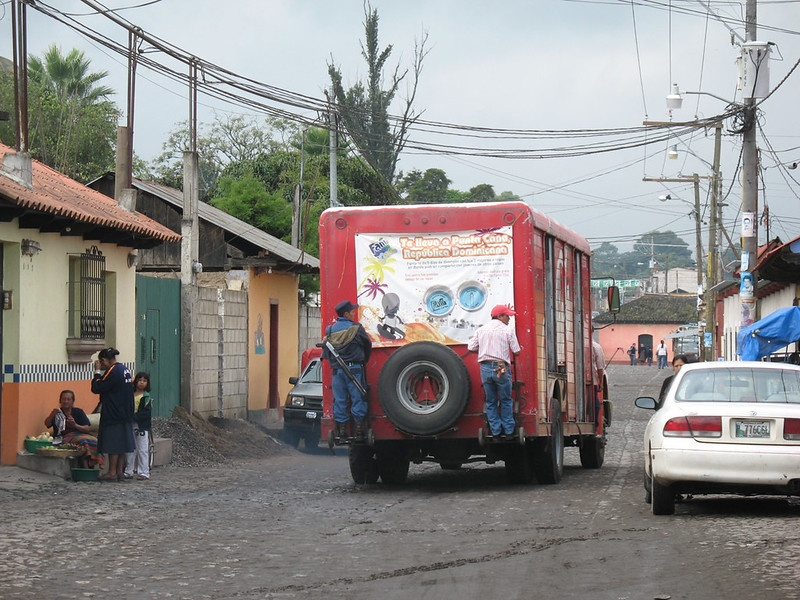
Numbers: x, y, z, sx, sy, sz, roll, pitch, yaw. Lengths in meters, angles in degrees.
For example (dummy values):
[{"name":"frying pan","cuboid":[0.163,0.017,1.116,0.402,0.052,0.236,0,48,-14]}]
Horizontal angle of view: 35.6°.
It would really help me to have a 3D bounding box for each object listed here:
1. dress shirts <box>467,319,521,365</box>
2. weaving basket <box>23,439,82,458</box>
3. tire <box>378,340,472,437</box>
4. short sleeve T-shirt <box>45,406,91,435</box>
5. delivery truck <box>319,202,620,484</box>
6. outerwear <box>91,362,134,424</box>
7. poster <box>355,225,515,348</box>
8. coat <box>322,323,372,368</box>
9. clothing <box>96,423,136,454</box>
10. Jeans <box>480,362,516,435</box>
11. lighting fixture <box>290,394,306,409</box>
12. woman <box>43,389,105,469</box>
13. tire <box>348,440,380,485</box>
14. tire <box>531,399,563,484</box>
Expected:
[{"name":"dress shirts","cuboid":[1.301,0.517,16.898,0.885,0.706,0.525,2,7,11]},{"name":"weaving basket","cuboid":[-5.328,2.270,19.049,0.898,0.292,0.312,-2,-6,15]},{"name":"tire","cuboid":[0.388,1.214,16.965,1.394,1.285,0.471,-2,-2,9]},{"name":"short sleeve T-shirt","cuboid":[-5.163,1.888,19.414,0.683,0.503,0.419,1,-14,-13]},{"name":"delivery truck","cuboid":[1.125,0.442,19.255,3.166,2.759,5.100,-1,-1,19]},{"name":"outerwear","cuboid":[-4.439,1.438,19.258,0.592,0.918,0.532,0,-6,-8]},{"name":"poster","cuboid":[0.586,-0.189,17.244,1.837,1.219,0.031,-1,-4,10]},{"name":"coat","cuboid":[-0.698,0.588,17.331,0.734,0.709,0.569,-4,7,12]},{"name":"clothing","cuboid":[-4.371,2.092,19.289,0.589,0.619,0.472,4,-6,-34]},{"name":"Jeans","cuboid":[1.341,1.325,16.905,0.408,0.998,0.330,-5,1,13]},{"name":"lighting fixture","cuboid":[-2.015,1.978,24.510,0.229,0.209,0.154,-1,-4,2]},{"name":"woman","cuboid":[-5.057,2.034,19.413,0.744,1.216,1.221,-5,4,-35]},{"name":"tire","cuboid":[-0.515,2.338,18.137,0.281,0.748,0.784,-6,-3,11]},{"name":"tire","cuboid":[2.071,1.979,17.679,0.332,0.985,1.000,-1,30,16]}]
